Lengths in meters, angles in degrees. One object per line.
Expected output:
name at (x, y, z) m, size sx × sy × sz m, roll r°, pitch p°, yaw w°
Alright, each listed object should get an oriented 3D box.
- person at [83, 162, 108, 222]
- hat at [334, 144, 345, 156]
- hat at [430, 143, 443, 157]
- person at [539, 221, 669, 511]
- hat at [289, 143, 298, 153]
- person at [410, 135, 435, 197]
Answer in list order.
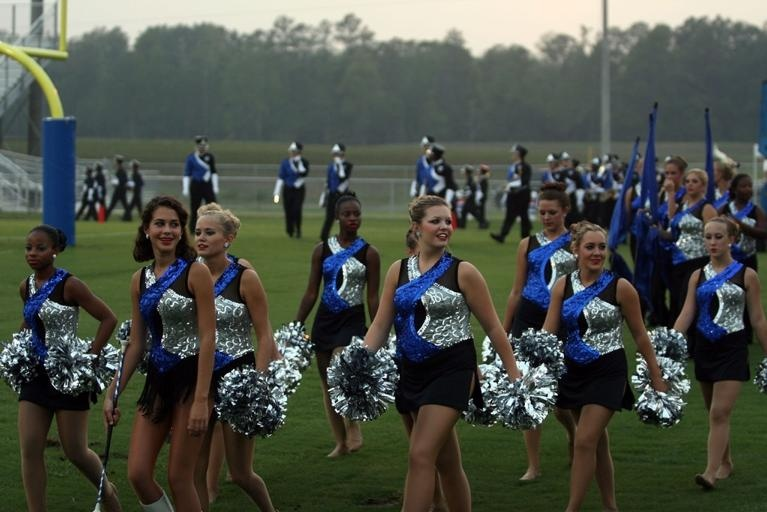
person at (-7.228, -1.656, 30.113) m, size 0.527 × 1.451 × 0.974 m, roll 1°, pitch 5°, yaw -14°
hat at (-0.823, -2.036, 22.492) m, size 0.170 × 0.182 × 0.249 m, roll 3°, pitch -7°, yaw -5°
hat at (0.950, -1.942, 20.893) m, size 0.233 × 0.263 × 0.278 m, roll 5°, pitch -10°, yaw 7°
person at (1.718, 0.774, 9.109) m, size 0.804 × 2.016 × 0.710 m, roll 1°, pitch 5°, yaw -18°
hat at (-1.675, -2.095, 22.679) m, size 0.158 × 0.205 × 0.463 m, roll 2°, pitch 5°, yaw -7°
person at (0.811, -1.532, 21.505) m, size 0.549 × 1.445 × 0.393 m, roll 2°, pitch 34°, yaw 2°
